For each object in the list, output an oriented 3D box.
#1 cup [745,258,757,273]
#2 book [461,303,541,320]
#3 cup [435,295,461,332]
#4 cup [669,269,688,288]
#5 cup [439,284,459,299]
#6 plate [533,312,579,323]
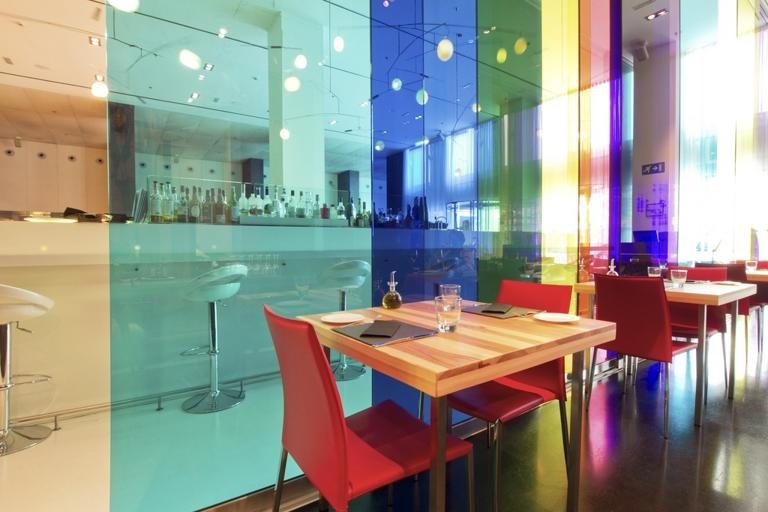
[{"bbox_3d":[4.027,0.101,6.216,0.116,0.169,0.136,-4,5,-36],"label":"cup"},{"bbox_3d":[0.777,0.366,3.846,0.491,0.076,0.230,-1,2,26],"label":"book"},{"bbox_3d":[0.403,0.360,3.637,0.195,0.227,0.197,0,3,0],"label":"cup"},{"bbox_3d":[2.497,0.188,4.841,0.144,0.170,0.154,0,4,0],"label":"cup"},{"bbox_3d":[0.420,0.224,3.621,0.086,0.065,0.085,0,5,0],"label":"cup"},{"bbox_3d":[1.135,0.401,3.726,0.281,0.058,0.225,-4,3,-31],"label":"plate"}]
